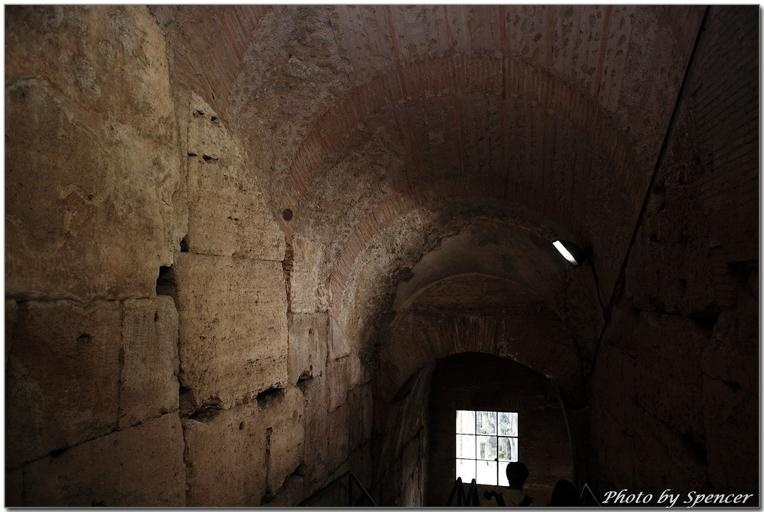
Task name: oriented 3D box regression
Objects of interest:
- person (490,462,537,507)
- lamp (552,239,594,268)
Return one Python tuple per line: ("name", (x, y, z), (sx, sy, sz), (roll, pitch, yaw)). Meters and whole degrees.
("person", (1.547, 2.742, 6.863), (0.513, 0.504, 0.966), (-2, -20, 14))
("lamp", (1.322, -0.022, 3.949), (0.194, 0.050, 0.210), (34, -4, 25))
